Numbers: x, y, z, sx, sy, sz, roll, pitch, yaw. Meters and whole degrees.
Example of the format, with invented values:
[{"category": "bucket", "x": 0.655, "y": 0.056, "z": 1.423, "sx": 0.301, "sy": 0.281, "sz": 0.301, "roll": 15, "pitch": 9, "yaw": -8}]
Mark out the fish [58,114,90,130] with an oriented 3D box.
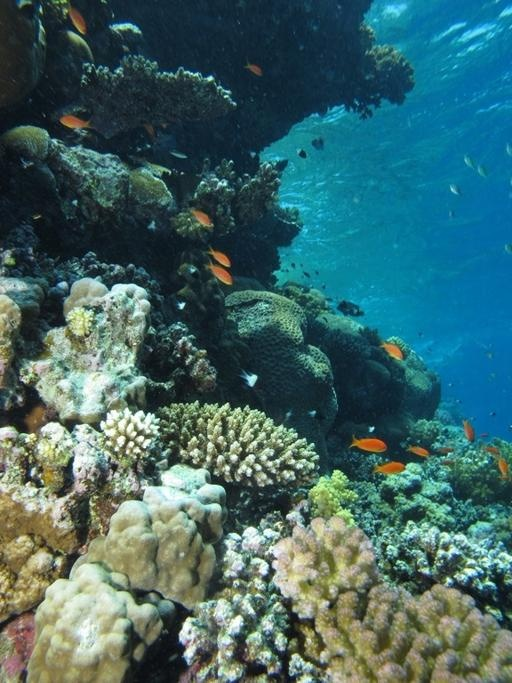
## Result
[{"category": "fish", "x": -2.754, "y": -3.300, "z": 9.697, "sx": 0.432, "sy": 0.206, "sz": 0.601, "roll": -11, "pitch": 18, "yaw": -12}]
